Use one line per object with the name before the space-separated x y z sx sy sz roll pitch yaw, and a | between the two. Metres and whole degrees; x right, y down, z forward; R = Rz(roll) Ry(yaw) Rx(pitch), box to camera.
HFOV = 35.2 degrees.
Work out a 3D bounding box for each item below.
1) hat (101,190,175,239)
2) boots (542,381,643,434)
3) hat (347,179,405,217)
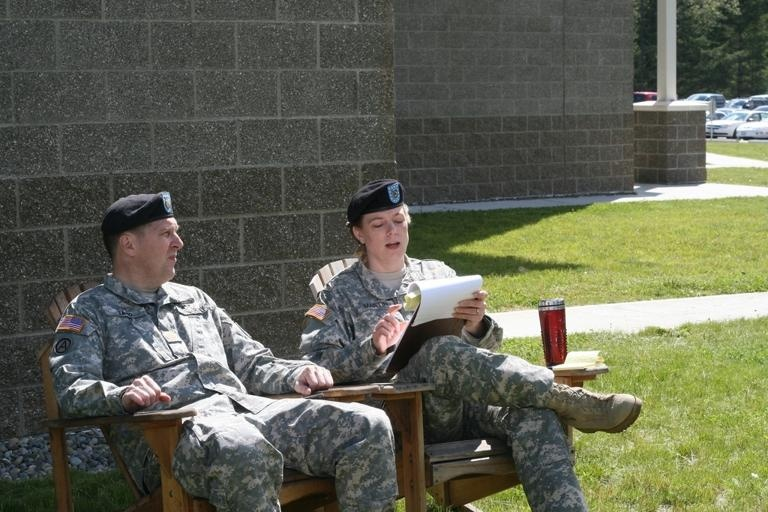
hat | -1.579 -0.232 7.768 0.366 0.150 0.279 -19 1 4
boots | 1.267 0.940 7.760 0.732 0.360 0.260 -8 12 10
hat | -0.083 -0.358 8.198 0.257 0.122 0.295 -10 -3 -42
